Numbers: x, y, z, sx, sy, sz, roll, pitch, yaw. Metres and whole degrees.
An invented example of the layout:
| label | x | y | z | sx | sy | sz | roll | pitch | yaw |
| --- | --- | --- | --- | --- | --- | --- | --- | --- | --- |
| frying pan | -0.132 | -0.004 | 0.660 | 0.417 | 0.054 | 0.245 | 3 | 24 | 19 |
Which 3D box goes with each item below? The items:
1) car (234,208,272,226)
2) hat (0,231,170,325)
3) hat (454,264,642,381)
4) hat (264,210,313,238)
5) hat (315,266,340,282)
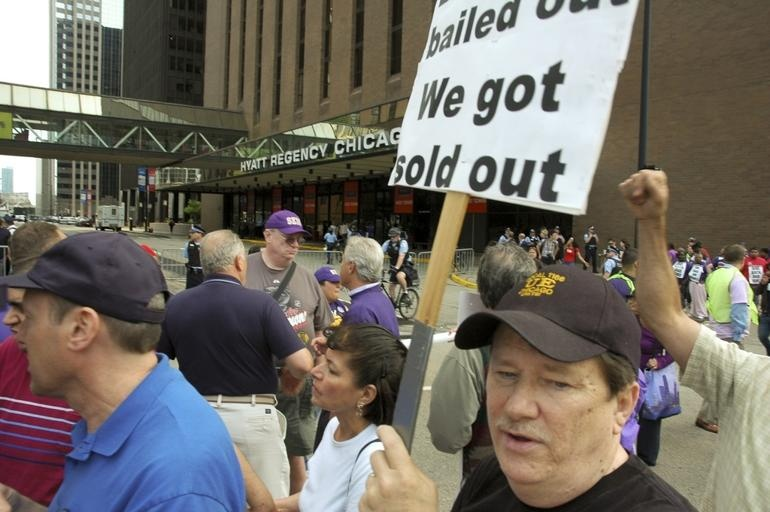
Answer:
| label | x | y | z | sx | sy | sz | roll | pitch | yaw |
| --- | --- | --- | --- | --- | --- | --- | --- | --- | --- |
| car | -8.777 | -2.614 | 45.524 | 1.219 | 1.913 | 2.383 | -2 | 4 | -34 |
| hat | -1.597 | 0.102 | 3.735 | 0.686 | 0.397 | 0.481 | 17 | -7 | -6 |
| hat | 0.896 | 0.301 | 3.433 | 0.775 | 0.507 | 0.297 | 2 | 4 | -7 |
| hat | -0.950 | -0.304 | 6.472 | 0.316 | 0.211 | 0.221 | 2 | -3 | 26 |
| hat | -0.583 | 0.160 | 7.096 | 0.212 | 0.137 | 0.170 | 5 | 7 | -4 |
